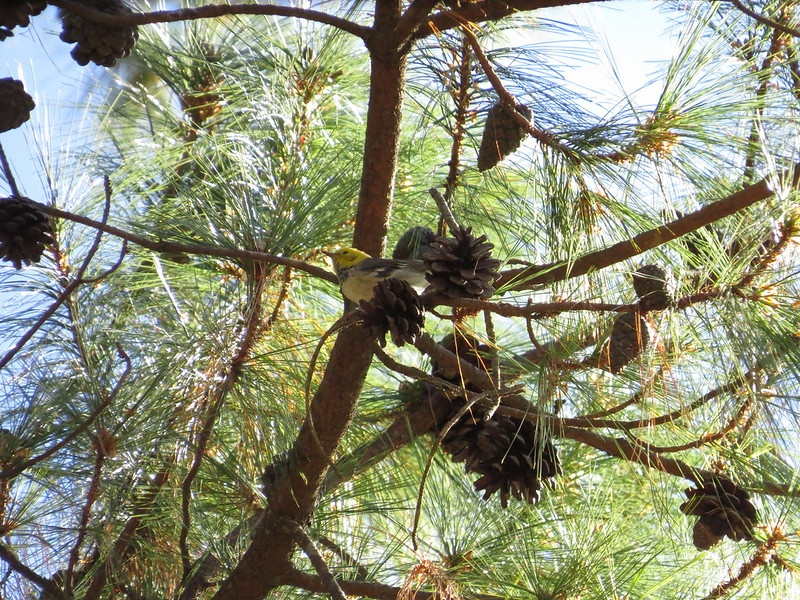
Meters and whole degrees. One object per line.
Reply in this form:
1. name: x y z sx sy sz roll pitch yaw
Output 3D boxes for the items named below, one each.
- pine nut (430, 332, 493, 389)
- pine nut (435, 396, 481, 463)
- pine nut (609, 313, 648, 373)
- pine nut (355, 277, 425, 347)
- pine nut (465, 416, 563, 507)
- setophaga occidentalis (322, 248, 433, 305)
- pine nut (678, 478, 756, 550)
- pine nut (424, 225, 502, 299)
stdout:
1. pine nut: 0.186 0.148 3.081 0.171 0.057 0.139 -4 -72 53
2. pine nut: 0.160 0.335 3.095 0.132 0.162 0.086 -25 -28 23
3. pine nut: 0.569 0.084 2.870 0.100 0.150 0.039 -36 -53 23
4. pine nut: -0.015 0.032 2.666 0.182 0.163 0.172 -1 2 -25
5. pine nut: 0.266 0.446 3.069 0.215 0.169 0.200 1 -21 29
6. setophaga occidentalis: -0.044 -0.064 2.943 0.262 0.178 0.107 -5 -23 -4
7. pine nut: 0.837 0.559 2.985 0.169 0.094 0.191 15 -67 22
8. pine nut: 0.149 -0.070 2.657 0.170 0.159 0.179 -17 -18 27
